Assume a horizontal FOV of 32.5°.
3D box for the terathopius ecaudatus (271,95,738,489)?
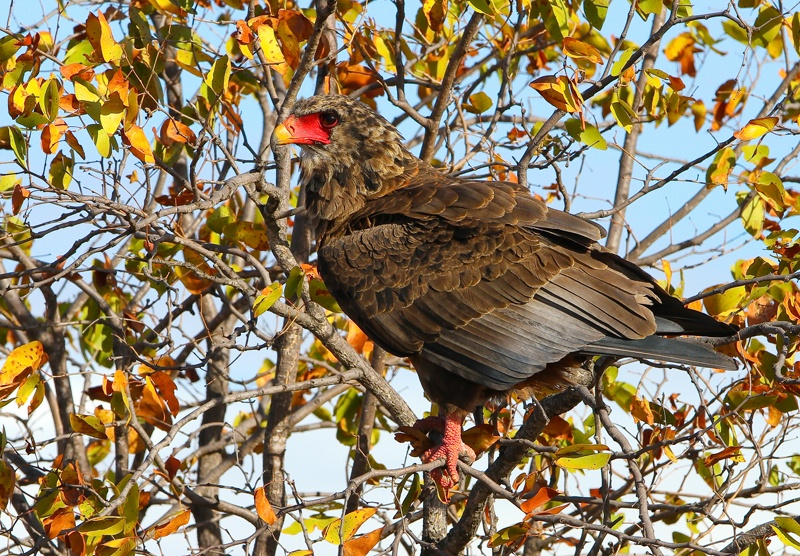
[{"bbox_3d":[0.412,-0.012,9.100,2.768,1.934,1.175,16,-58,-9],"label":"terathopius ecaudatus"}]
